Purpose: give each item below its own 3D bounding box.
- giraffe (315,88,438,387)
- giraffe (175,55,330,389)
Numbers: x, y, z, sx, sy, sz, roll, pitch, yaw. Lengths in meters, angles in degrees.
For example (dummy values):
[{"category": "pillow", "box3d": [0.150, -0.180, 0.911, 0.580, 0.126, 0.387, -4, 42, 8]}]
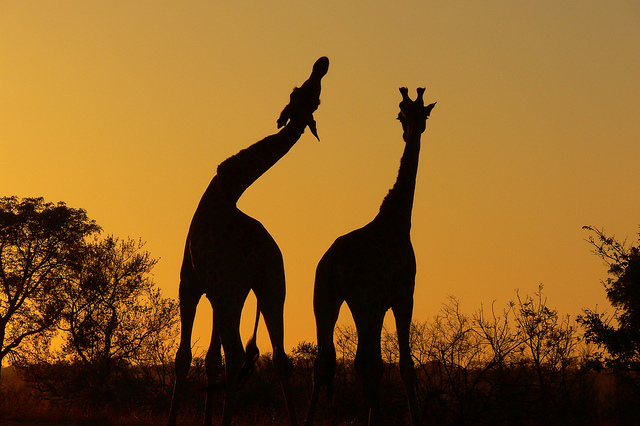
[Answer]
[{"category": "giraffe", "box3d": [2.443, 1.374, 38.666, 3.946, 8.961, 5.007, 1, 5, -3]}, {"category": "giraffe", "box3d": [-2.308, 0.666, 38.556, 2.357, 12.049, 7.476, -3, -5, -30]}]
